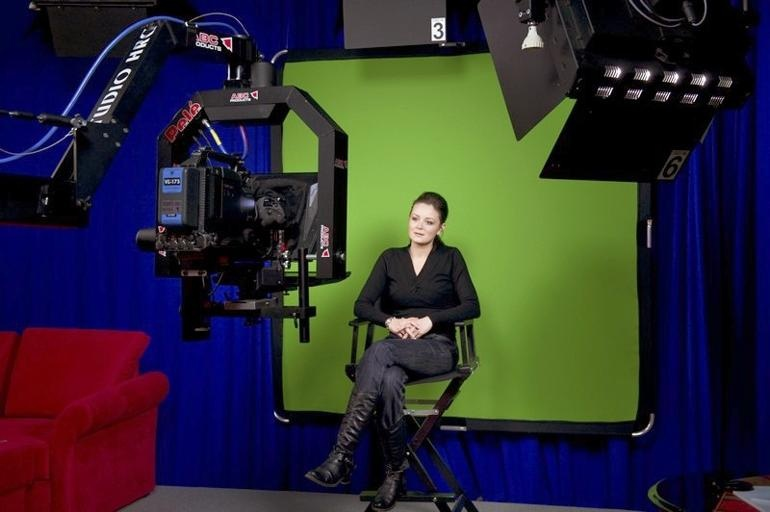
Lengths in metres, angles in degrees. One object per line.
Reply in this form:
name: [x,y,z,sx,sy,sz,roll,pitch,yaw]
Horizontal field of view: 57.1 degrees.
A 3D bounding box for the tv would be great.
tv: [-0.519,-0.213,3.954,0.436,0.447,0.158,2,-3,10]
